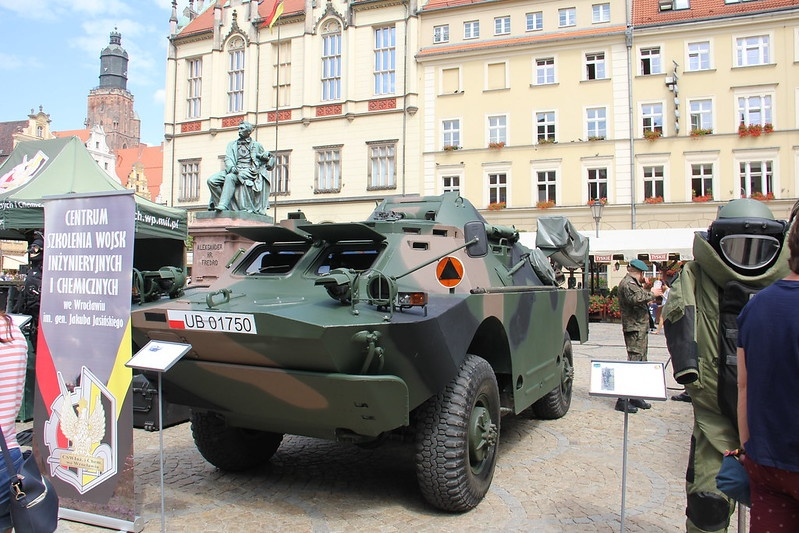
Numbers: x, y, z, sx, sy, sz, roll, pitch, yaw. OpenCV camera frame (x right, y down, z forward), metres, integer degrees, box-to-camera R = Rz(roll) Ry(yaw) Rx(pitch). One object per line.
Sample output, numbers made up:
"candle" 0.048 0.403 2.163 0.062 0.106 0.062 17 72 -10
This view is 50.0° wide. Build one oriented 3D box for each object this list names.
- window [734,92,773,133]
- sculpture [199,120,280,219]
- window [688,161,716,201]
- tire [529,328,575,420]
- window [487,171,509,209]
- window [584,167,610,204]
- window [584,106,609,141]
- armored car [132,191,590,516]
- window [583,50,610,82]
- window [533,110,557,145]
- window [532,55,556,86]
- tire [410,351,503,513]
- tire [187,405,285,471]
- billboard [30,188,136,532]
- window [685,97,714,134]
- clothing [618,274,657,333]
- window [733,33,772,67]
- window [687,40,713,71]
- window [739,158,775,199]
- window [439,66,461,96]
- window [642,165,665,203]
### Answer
"window" 11.917 -5.182 28.653 1.366 1.604 0.198 -1 -6 32
"sculpture" -3.285 -2.062 18.970 1.703 2.792 1.876 -2 -5 14
"window" 10.391 -2.984 29.298 0.703 1.346 0.141 1 39 23
"tire" 2.122 1.527 12.039 0.385 1.088 1.056 1 22 20
"window" 3.620 -2.890 31.521 0.715 1.333 0.188 -2 34 4
"window" 7.028 -2.940 30.295 0.710 1.284 0.110 0 -7 9
"window" 7.030 -5.189 30.379 0.769 1.000 0.436 3 13 14
"armored car" -0.039 0.956 10.911 3.214 3.346 5.800 12 17 43
"window" 7.055 -7.254 30.538 1.118 1.533 0.153 -2 -5 36
"window" 5.276 -5.065 30.828 0.769 1.128 0.660 2 12 9
"window" 5.277 -7.210 31.147 1.121 1.376 0.111 0 -8 17
"tire" 0.628 1.935 9.869 0.712 1.817 1.531 -1 10 34
"tire" -2.057 2.191 10.852 0.868 0.919 0.840 0 2 26
"billboard" -3.505 1.036 9.643 1.333 3.699 0.886 3 13 12
"window" 10.328 -5.139 29.268 0.793 1.444 0.126 -1 -20 17
"clothing" 3.684 0.582 13.340 0.525 0.894 0.358 3 13 14
"window" 11.928 -7.350 28.752 1.176 1.160 0.092 0 -2 33
"window" 10.355 -7.299 29.356 1.072 1.551 0.201 0 -4 22
"window" 11.924 -2.881 28.588 1.225 1.490 0.110 -1 -11 20
"window" 1.933 -7.060 32.196 1.102 1.554 0.133 0 -1 23
"window" 8.825 -2.914 29.663 0.728 1.398 0.111 -1 -28 15
